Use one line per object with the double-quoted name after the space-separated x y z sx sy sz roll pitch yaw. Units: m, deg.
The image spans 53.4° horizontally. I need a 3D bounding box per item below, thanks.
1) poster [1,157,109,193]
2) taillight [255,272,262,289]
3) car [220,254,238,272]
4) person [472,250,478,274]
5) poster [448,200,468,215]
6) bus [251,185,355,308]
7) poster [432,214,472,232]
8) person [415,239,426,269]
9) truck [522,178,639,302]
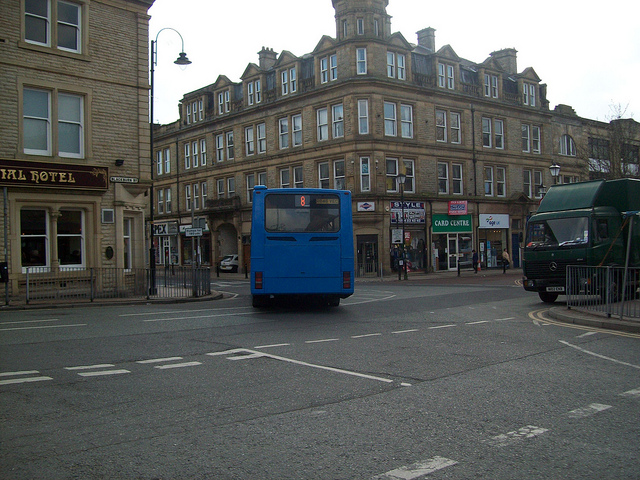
-9.422 -2.350 22.770 3.508 0.957 0.846 -1 2 -31 "poster"
-1.743 1.163 18.189 0.208 0.471 0.068 0 2 4 "taillight"
-7.347 1.885 51.764 0.932 0.784 1.604 4 7 41 "car"
10.751 1.573 44.174 0.275 1.440 1.022 0 2 10 "person"
10.075 -2.389 46.887 1.675 1.024 0.275 -1 2 -29 "poster"
-0.446 0.428 21.182 3.182 3.572 5.982 0 -4 -2 "bus"
9.671 -1.211 46.725 0.736 1.241 4.227 1 2 42 "poster"
7.196 1.003 45.265 0.781 2.085 0.323 -2 2 -38 "person"
7.561 -0.042 18.917 4.930 3.291 2.330 11 -14 -43 "truck"
